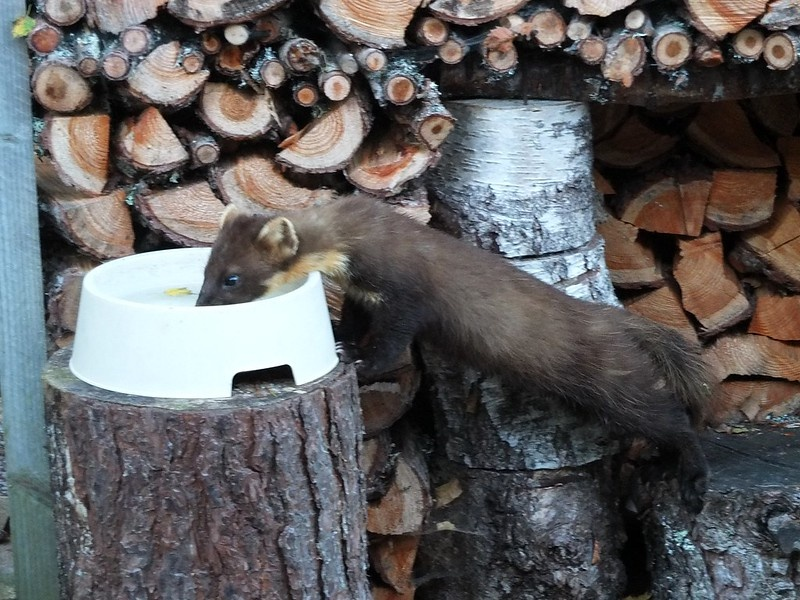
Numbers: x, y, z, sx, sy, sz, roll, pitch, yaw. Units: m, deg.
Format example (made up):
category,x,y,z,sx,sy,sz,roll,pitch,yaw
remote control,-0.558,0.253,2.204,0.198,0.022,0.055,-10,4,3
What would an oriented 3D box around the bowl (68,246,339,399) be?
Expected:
category,x,y,z,sx,sy,sz,roll,pitch,yaw
bowl,-0.924,0.021,5.677,1.439,0.387,1.230,-10,24,-19
